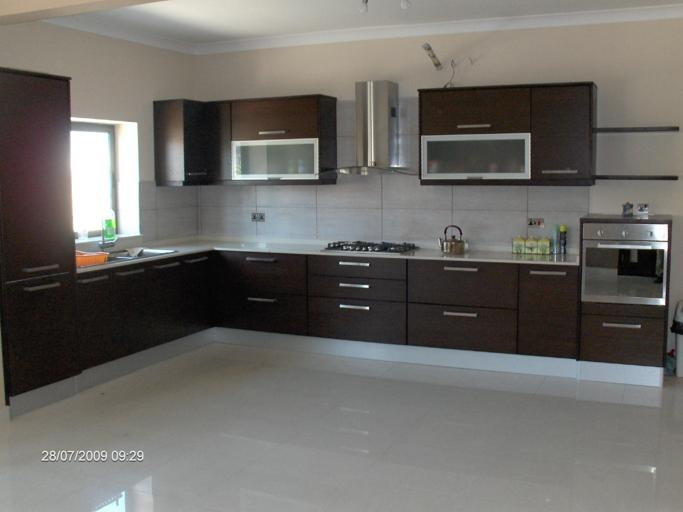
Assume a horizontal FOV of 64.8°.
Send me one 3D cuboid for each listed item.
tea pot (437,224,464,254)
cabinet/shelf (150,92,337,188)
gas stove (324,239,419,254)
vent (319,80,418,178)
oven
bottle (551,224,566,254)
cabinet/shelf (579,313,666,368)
[{"bbox_3d":[1.054,-0.161,5.201,0.192,0.295,0.334,-1,4,-8],"label":"tea pot"},{"bbox_3d":[-1.048,-1.201,5.613,1.893,0.873,0.317,1,10,7],"label":"cabinet/shelf"},{"bbox_3d":[0.292,-0.091,5.272,0.887,0.045,0.497,1,10,7],"label":"gas stove"},{"bbox_3d":[0.300,-1.120,5.487,1.007,0.873,0.847,1,3,15],"label":"vent"},{"bbox_3d":[2.507,0.074,4.616,0.772,0.731,0.602,2,0,39],"label":"oven"},{"bbox_3d":[1.998,-0.161,4.941,0.140,0.245,0.313,3,11,22],"label":"bottle"},{"bbox_3d":[2.334,0.707,4.509,0.482,0.306,0.474,2,4,19],"label":"cabinet/shelf"}]
